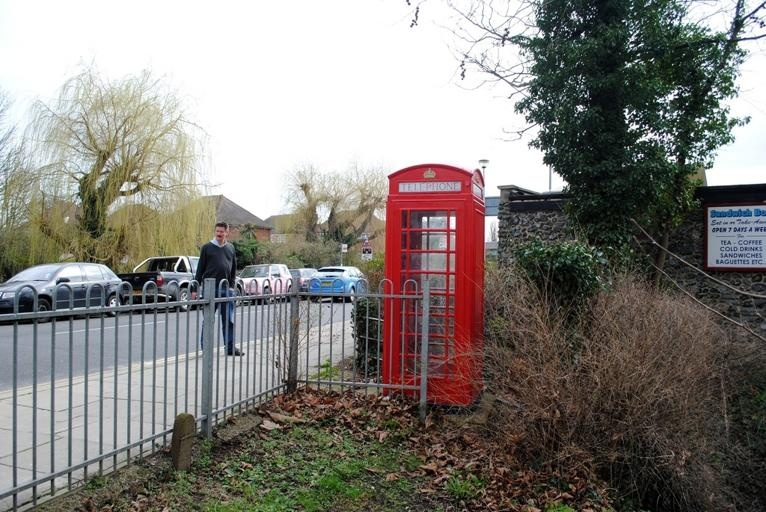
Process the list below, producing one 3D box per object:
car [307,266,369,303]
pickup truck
[{"bbox_3d":[-2.004,1.172,22.676,1.339,1.127,3.122,1,1,15],"label":"car"},{"bbox_3d":[-4.396,0.555,12.086,1.526,1.123,2.901,0,2,27],"label":"pickup truck"}]
